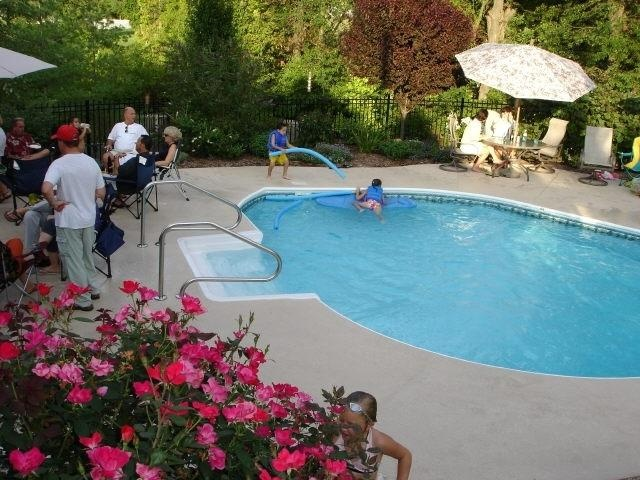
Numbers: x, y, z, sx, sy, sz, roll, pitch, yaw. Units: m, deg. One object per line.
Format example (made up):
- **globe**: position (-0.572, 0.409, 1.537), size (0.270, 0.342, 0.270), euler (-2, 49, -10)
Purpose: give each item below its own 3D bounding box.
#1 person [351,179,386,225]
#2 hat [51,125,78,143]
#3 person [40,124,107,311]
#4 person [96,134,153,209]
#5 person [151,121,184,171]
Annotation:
- **person**: position (1.261, -1.041, 11.773), size (0.985, 0.882, 0.504), euler (15, 20, 40)
- **hat**: position (-2.991, -1.251, 5.667), size (0.202, 0.194, 0.361), euler (-8, 19, -33)
- **person**: position (-3.035, -0.256, 5.959), size (0.520, 2.271, 0.811), euler (0, 15, -6)
- **person**: position (-3.681, -1.316, 9.318), size (1.057, 1.482, 1.050), euler (-6, 29, -43)
- **person**: position (-3.424, -2.062, 10.793), size (0.548, 0.920, 1.266), euler (-3, 16, -17)
